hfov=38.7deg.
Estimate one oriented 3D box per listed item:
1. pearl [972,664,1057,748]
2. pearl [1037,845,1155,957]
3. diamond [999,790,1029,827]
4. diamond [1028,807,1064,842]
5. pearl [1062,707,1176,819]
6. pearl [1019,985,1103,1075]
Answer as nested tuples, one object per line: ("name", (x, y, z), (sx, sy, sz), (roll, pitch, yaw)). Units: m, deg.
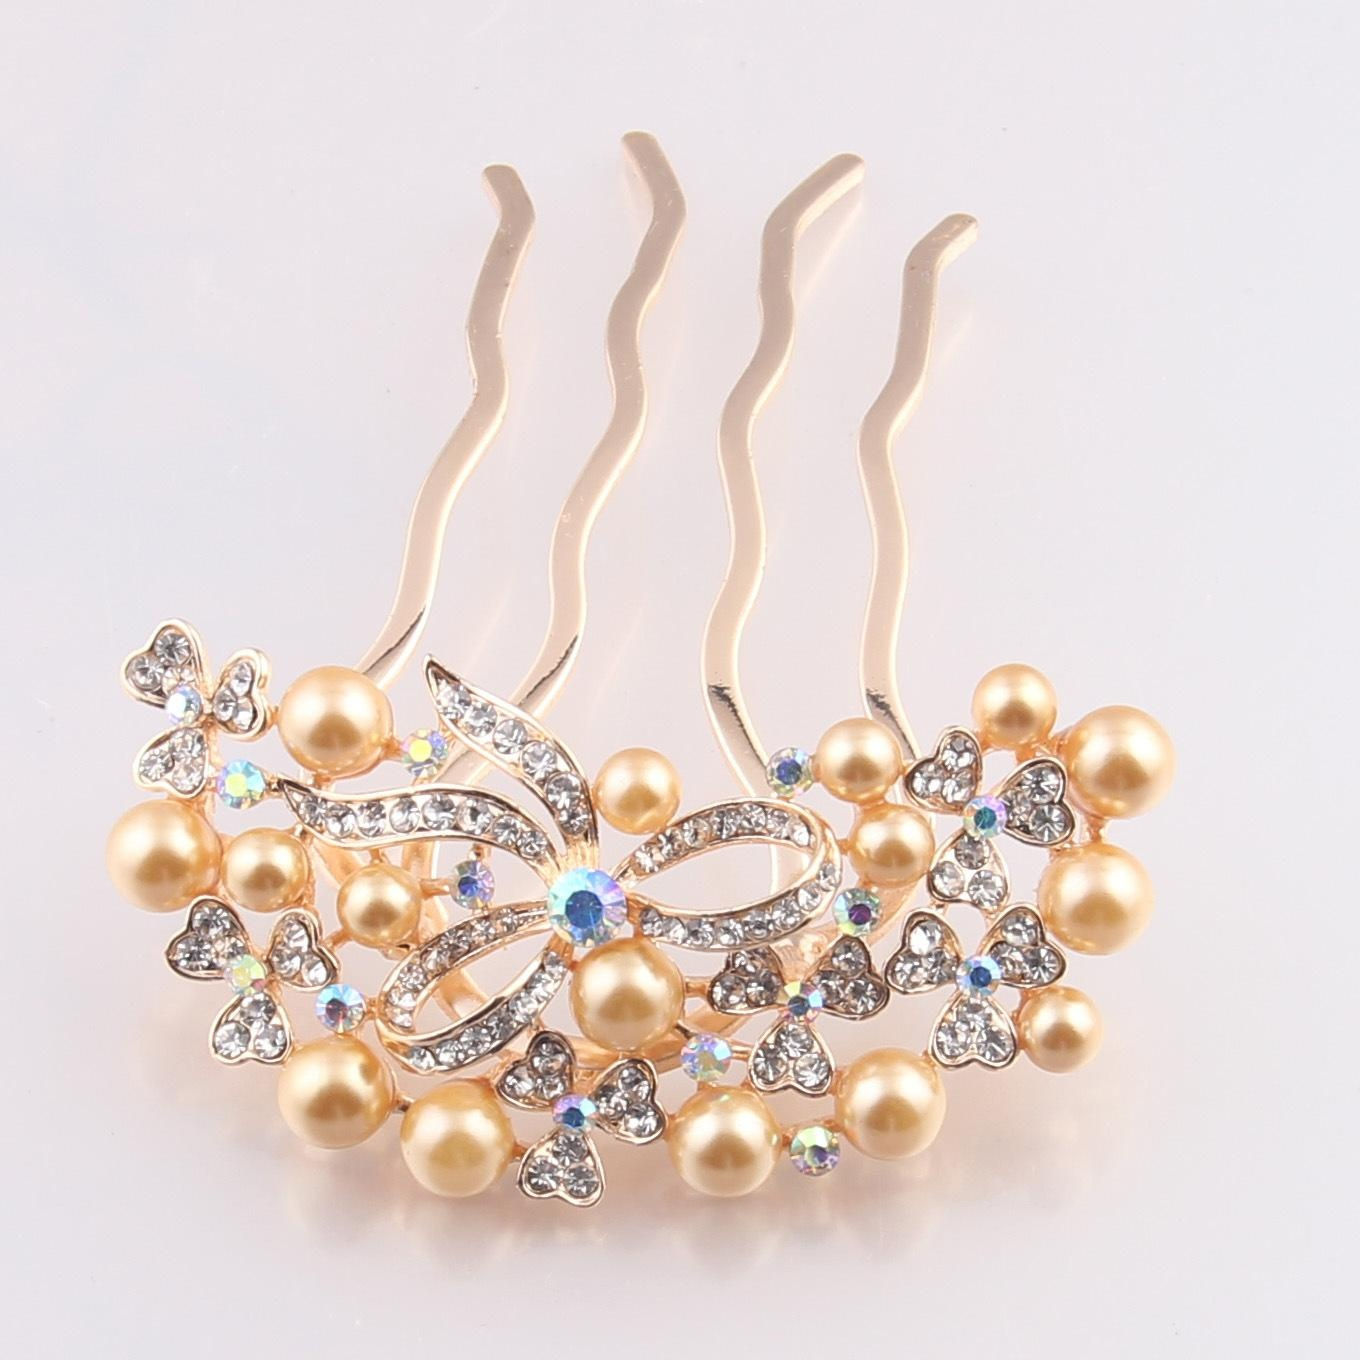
("pearl", (0.354, 0.039, 2.048), (0.083, 0.117, 0.096), (2, -29, 2))
("pearl", (0.427, 0.209, 2.022), (0.096, 0.107, 0.140), (-3, -82, -2))
("diamond", (0.348, 0.131, 2.000), (0.030, 0.008, 0.038), (-1, -90, 3))
("diamond", (0.385, 0.146, 2.005), (0.030, 0.014, 0.039), (1, -88, -6))
("pearl", (0.454, 0.093, 2.007), (0.112, 0.093, 0.104), (-3, -104, 18))
("pearl", (0.395, 0.366, 2.000), (0.081, 0.092, 0.116), (-9, -87, 8))
